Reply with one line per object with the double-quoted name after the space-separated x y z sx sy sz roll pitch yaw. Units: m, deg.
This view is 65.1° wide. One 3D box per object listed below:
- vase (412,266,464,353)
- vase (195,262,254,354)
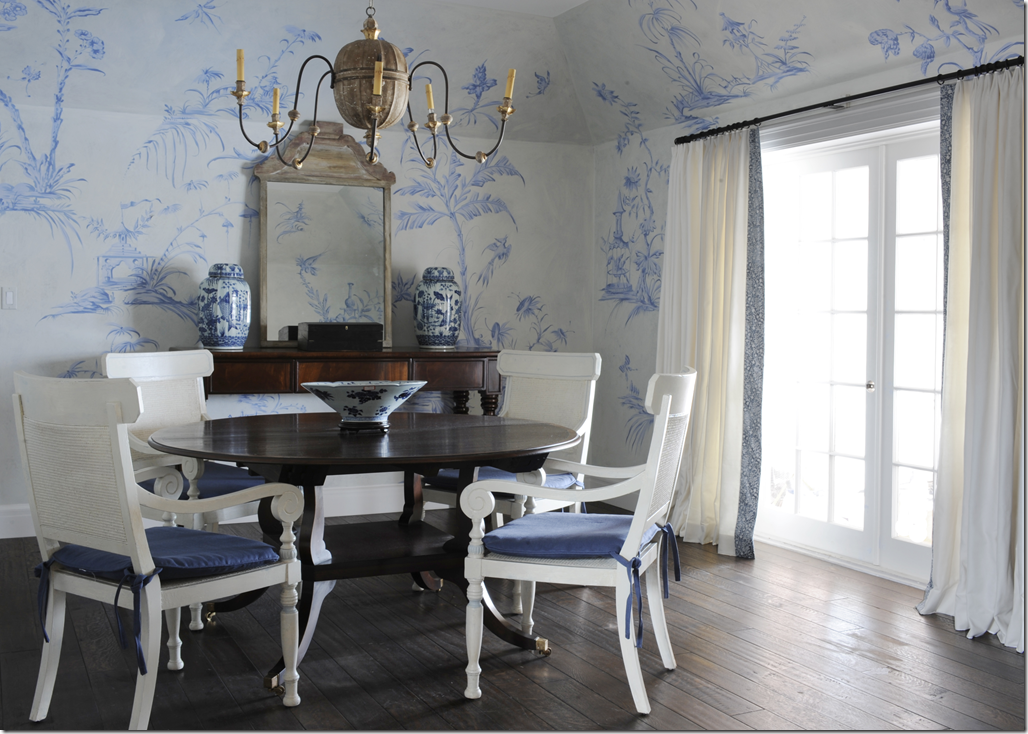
-0.465 -0.356 4.970 0.273 0.485 0.181 -1 9 -8 "vase"
-1.606 -0.326 4.510 0.272 0.467 0.221 -6 11 -36 "vase"
